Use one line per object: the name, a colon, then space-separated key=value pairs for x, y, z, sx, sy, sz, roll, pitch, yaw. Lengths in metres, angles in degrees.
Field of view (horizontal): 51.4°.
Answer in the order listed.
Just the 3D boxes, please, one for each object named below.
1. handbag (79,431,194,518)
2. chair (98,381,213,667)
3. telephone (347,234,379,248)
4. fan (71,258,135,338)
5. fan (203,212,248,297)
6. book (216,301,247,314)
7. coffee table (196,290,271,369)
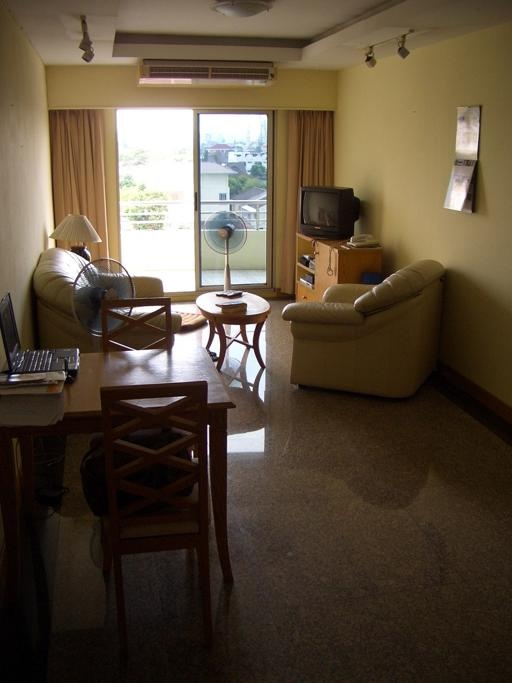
handbag: x=-0.383 y=0.483 z=1.721 sx=0.315 sy=0.138 sz=0.333 roll=-2 pitch=33 yaw=-11
chair: x=-0.292 y=0.482 z=1.655 sx=0.369 sy=0.848 sz=0.495 roll=-3 pitch=11 yaw=-18
telephone: x=1.042 y=-0.982 z=5.226 sx=0.285 sy=0.111 sz=0.241 roll=1 pitch=12 yaw=5
fan: x=-0.862 y=-0.254 z=3.144 sx=0.183 sy=0.403 sz=0.439 roll=4 pitch=12 yaw=23
fan: x=-0.343 y=-0.965 z=5.875 sx=0.408 sy=0.892 sz=0.971 roll=-1 pitch=11 yaw=-5
book: x=-0.196 y=-0.284 z=4.342 sx=0.251 sy=0.071 sz=0.300 roll=-1 pitch=12 yaw=-4
coffee table: x=-0.185 y=-0.201 z=4.466 sx=0.542 sy=0.524 sz=1.008 roll=-4 pitch=19 yaw=-10
